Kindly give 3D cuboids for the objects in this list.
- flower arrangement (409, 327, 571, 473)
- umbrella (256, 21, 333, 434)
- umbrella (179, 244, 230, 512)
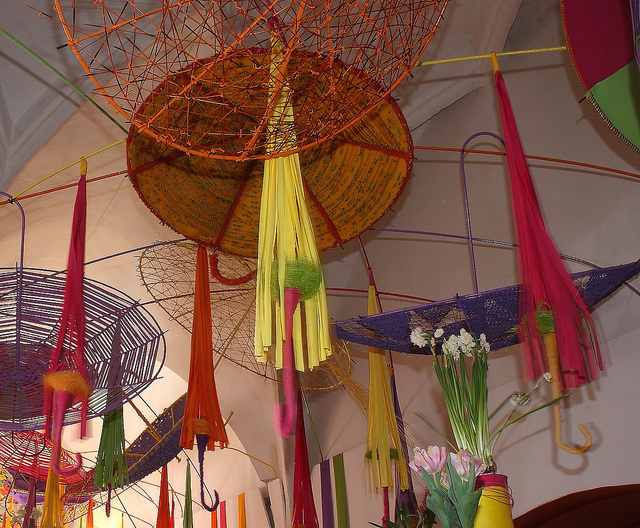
[{"bbox_3d":[0.764,0.766,3.392,0.602,0.721,0.629,-16,-14,6],"label":"flower arrangement"},{"bbox_3d":[-0.189,-0.381,3.670,0.400,2.636,0.742,1,-27,-11],"label":"umbrella"},{"bbox_3d":[-0.982,0.689,5.411,0.363,2.019,0.259,0,-27,-10],"label":"umbrella"}]
